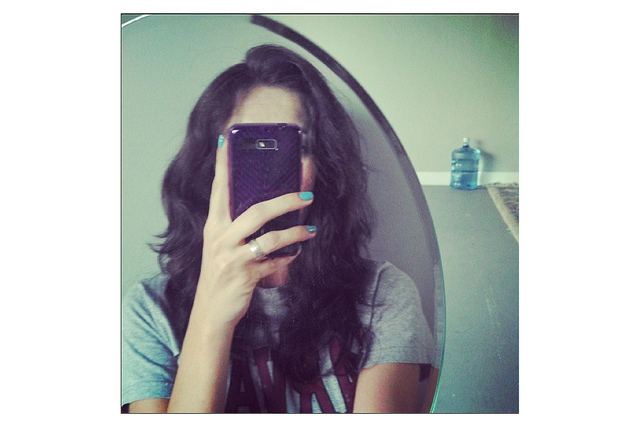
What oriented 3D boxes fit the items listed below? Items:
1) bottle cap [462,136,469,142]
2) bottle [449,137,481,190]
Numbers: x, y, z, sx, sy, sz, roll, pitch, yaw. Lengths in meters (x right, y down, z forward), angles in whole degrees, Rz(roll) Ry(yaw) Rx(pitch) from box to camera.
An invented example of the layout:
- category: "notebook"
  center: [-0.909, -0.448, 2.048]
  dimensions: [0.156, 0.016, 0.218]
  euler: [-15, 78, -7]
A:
- category: "bottle cap"
  center: [0.631, -0.321, 2.415]
  dimensions: [0.024, 0.020, 0.022]
  euler: [0, 3, 4]
- category: "bottle"
  center: [0.628, -0.214, 2.420]
  dimensions: [0.124, 0.221, 0.021]
  euler: [1, -3, -7]
